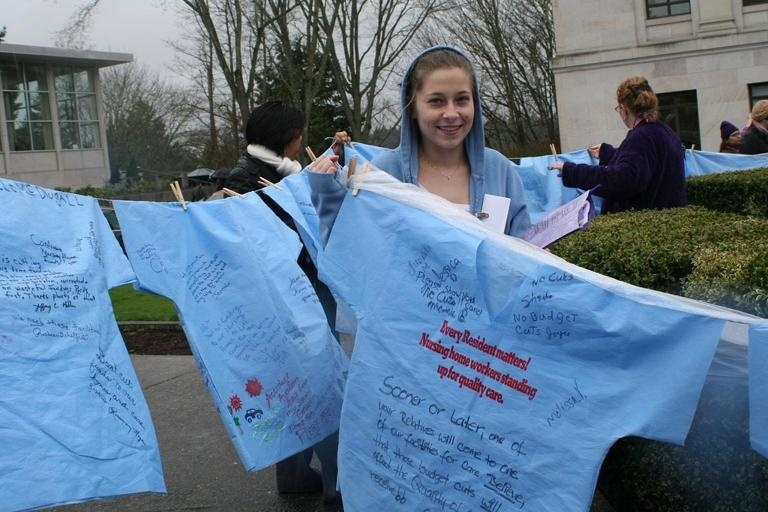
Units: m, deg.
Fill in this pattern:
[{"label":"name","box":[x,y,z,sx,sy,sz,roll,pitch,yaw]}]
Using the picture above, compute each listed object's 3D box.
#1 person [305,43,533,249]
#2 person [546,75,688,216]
[{"label":"person","box":[0.434,-0.741,6.054,1.016,1.316,0.492,-3,10,8]},{"label":"person","box":[2.161,-0.984,8.081,0.983,1.200,1.098,-7,10,-16]}]
